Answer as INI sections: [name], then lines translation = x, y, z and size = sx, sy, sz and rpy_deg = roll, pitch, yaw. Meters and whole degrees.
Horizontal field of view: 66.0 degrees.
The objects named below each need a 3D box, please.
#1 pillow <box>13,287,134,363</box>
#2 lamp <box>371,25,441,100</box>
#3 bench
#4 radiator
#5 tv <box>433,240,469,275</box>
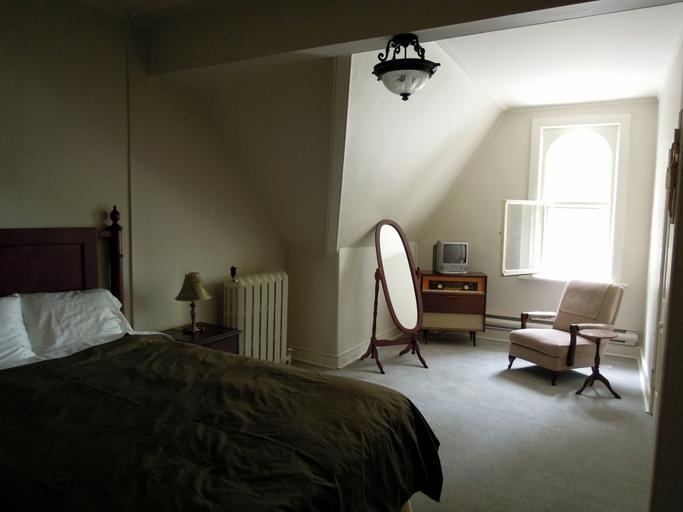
[pillow]
translation = -1.728, 0.399, 3.458
size = 0.632, 0.312, 0.308
rpy_deg = -8, 13, -38
[lamp]
translation = 0.401, -1.195, 3.347
size = 0.459, 0.460, 0.448
rpy_deg = 1, 4, 3
[bench]
translation = 1.321, 0.701, 6.288
size = 0.721, 0.694, 0.395
rpy_deg = 2, 3, 4
[radiator]
translation = -0.788, 0.538, 4.617
size = 0.185, 1.022, 0.766
rpy_deg = 7, 8, 35
[tv]
translation = 1.314, 0.025, 6.384
size = 0.471, 0.495, 0.342
rpy_deg = 0, -1, 7
